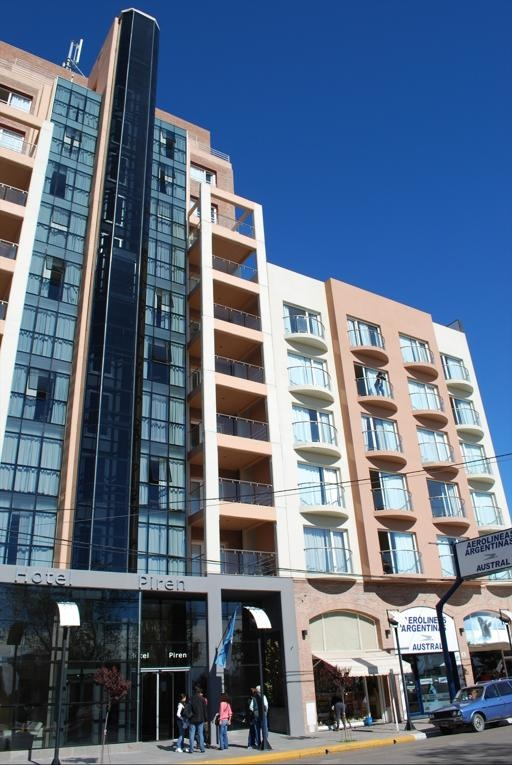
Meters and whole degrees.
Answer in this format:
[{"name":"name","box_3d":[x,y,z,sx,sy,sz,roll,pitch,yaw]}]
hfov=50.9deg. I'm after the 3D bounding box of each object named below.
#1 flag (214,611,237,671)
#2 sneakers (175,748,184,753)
[{"name":"flag","box_3d":[-1.137,9.754,20.304,0.835,1.918,2.745,-3,-29,-4]},{"name":"sneakers","box_3d":[-2.231,10.732,15.787,0.240,0.117,0.504,-1,-30,-9]}]
